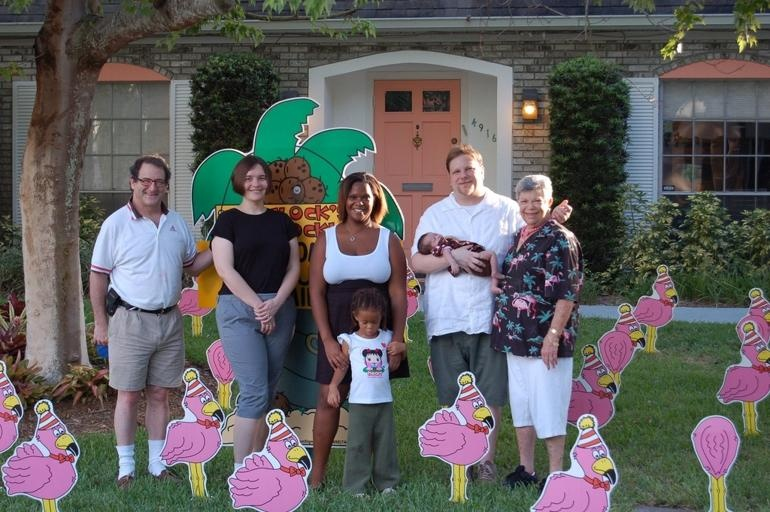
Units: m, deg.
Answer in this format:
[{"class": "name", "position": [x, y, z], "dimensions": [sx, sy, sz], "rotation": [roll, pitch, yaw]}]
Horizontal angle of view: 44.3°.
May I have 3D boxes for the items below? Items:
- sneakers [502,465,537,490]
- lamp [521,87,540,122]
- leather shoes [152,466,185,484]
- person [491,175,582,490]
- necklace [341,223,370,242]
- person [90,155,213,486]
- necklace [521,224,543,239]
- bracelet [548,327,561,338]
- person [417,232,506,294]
[{"class": "sneakers", "position": [1.286, 2.130, 9.060], "dimensions": [0.297, 0.149, 0.156], "rotation": [2, 5, -6]}, {"class": "lamp", "position": [2.435, -2.543, 15.772], "dimensions": [0.326, 0.460, 0.154], "rotation": [3, 1, 8]}, {"class": "leather shoes", "position": [-2.085, 2.138, 9.168], "dimensions": [0.327, 0.151, 0.123], "rotation": [0, 14, 23]}, {"class": "person", "position": [1.420, 0.720, 8.946], "dimensions": [0.812, 2.443, 0.303], "rotation": [3, 1, 10]}, {"class": "necklace", "position": [-0.320, -0.229, 8.943], "dimensions": [0.265, 0.166, 0.068], "rotation": [0, -2, 6]}, {"class": "person", "position": [-2.328, 0.590, 9.127], "dimensions": [1.009, 3.154, 0.358], "rotation": [2, 1, -15]}, {"class": "necklace", "position": [1.362, -0.237, 8.962], "dimensions": [0.125, 0.100, 0.166], "rotation": [-29, -18, 0]}, {"class": "bracelet", "position": [1.574, 0.706, 8.769], "dimensions": [0.098, 0.069, 0.092], "rotation": [24, -36, -5]}, {"class": "person", "position": [0.752, 0.028, 9.176], "dimensions": [0.683, 0.516, 0.248], "rotation": [18, -4, 13]}]
